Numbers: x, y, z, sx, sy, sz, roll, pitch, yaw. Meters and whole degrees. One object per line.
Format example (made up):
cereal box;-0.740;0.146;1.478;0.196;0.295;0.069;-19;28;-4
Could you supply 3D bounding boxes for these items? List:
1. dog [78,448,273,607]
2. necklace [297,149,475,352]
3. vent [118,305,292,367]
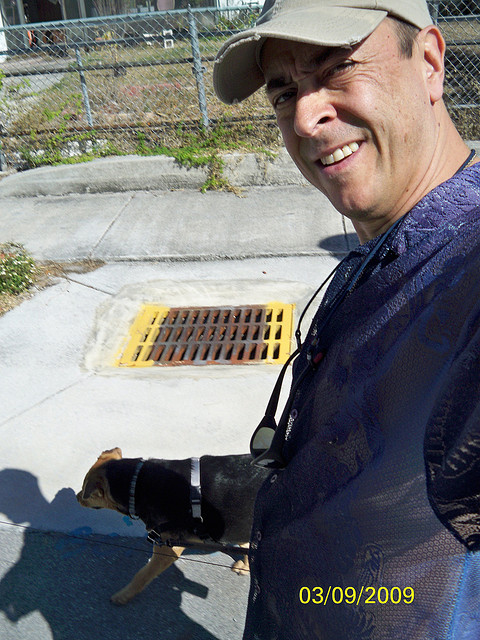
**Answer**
dog;-0.239;0.747;2.185;0.272;0.456;0.999;-3;-18;40
necklace;0.370;-0.116;1.289;0.514;0.091;0.271;-49;6;-22
vent;-0.190;0.096;3.944;1.057;0.135;0.702;-3;24;7
